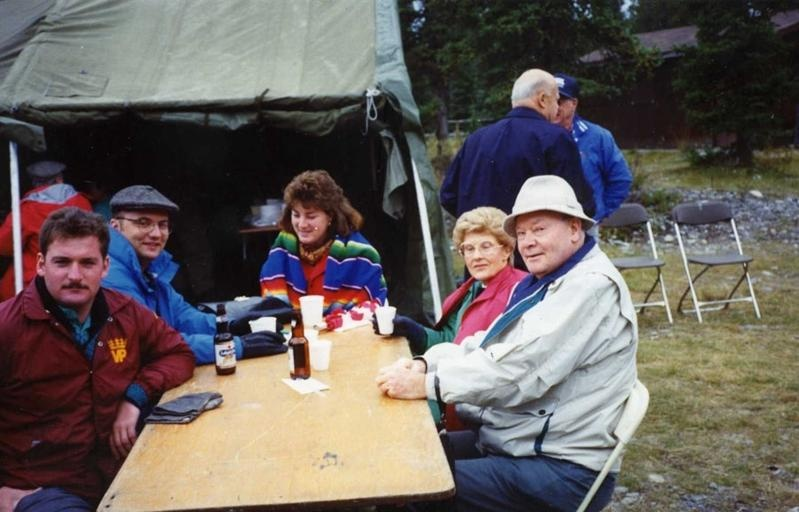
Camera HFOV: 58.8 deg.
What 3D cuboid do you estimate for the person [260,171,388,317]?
[{"bbox_3d":[-0.753,-0.100,6.886,1.300,1.381,0.771,2,8,13],"label":"person"}]

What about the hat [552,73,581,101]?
[{"bbox_3d":[1.722,-1.800,7.534,0.338,0.182,0.213,30,32,30],"label":"hat"}]

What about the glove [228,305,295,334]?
[{"bbox_3d":[-1.200,0.529,6.221,0.341,0.143,0.351,-7,5,16],"label":"glove"}]

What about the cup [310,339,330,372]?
[{"bbox_3d":[-0.607,0.756,5.428,0.201,0.170,0.208,-3,7,0],"label":"cup"}]

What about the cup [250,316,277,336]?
[{"bbox_3d":[-1.167,0.590,6.019,0.168,0.132,0.139,0,-8,6],"label":"cup"}]

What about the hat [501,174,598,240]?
[{"bbox_3d":[1.140,-0.371,5.303,0.517,0.290,0.503,12,-23,-18],"label":"hat"}]

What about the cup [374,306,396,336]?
[{"bbox_3d":[-0.112,0.542,5.936,0.198,0.217,0.202,0,6,0],"label":"cup"}]

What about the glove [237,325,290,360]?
[{"bbox_3d":[-1.103,0.709,5.751,0.278,0.100,0.225,-11,21,-11],"label":"glove"}]

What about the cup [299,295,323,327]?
[{"bbox_3d":[-0.757,0.467,6.240,0.235,0.230,0.241,-3,10,0],"label":"cup"}]

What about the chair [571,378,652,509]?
[{"bbox_3d":[1.545,1.351,4.992,0.575,0.875,0.330,-6,5,-38],"label":"chair"}]

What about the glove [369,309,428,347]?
[{"bbox_3d":[0.026,0.652,6.182,0.544,0.329,0.323,20,-4,-4],"label":"glove"}]
